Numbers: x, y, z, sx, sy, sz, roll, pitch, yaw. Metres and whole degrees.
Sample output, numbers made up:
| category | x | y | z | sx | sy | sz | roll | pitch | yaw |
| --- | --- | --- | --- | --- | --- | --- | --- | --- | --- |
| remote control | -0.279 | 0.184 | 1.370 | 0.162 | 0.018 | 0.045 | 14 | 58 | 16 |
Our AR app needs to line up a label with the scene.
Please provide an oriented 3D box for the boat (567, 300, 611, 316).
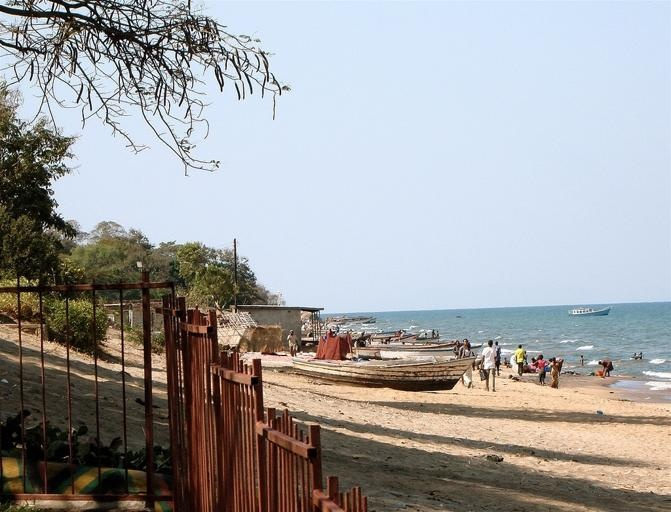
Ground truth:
| category | x | y | z | sx | sy | sz | roll | pitch | yaw |
| --- | --- | --- | --- | --- | --- | --- | --- | --- | --- |
| boat | 71.531 | 15.835 | 191.305 | 8.853 | 2.357 | 21.344 | -2 | -5 | 12 |

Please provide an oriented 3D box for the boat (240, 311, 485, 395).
| category | x | y | z | sx | sy | sz | roll | pitch | yaw |
| --- | --- | --- | --- | --- | --- | --- | --- | --- | --- |
| boat | -0.114 | 4.873 | 30.834 | 11.812 | 2.844 | 3.793 | 0 | 0 | 39 |
